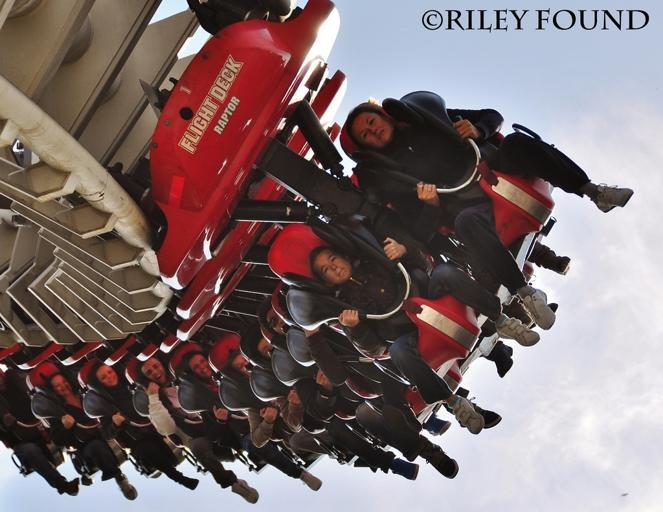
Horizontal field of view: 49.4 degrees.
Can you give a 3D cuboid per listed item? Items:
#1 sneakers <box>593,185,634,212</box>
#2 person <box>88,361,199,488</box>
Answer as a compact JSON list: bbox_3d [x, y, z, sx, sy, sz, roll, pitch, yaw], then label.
[{"bbox_3d":[2.735,-0.592,7.051,0.269,0.234,0.304,20,-27,-7],"label":"sneakers"},{"bbox_3d":[-3.133,2.753,11.745,2.418,0.882,0.956,25,15,6],"label":"person"}]
